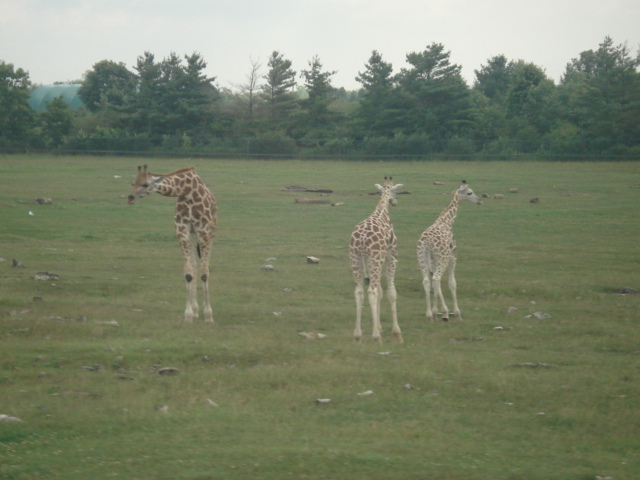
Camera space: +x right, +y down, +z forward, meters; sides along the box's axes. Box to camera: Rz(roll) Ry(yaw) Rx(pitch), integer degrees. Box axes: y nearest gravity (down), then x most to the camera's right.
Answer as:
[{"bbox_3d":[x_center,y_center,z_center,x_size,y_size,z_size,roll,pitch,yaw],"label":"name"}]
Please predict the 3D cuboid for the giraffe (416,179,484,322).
[{"bbox_3d":[3.925,0.271,35.834,1.521,4.333,2.990,-1,5,7],"label":"giraffe"}]

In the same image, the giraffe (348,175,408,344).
[{"bbox_3d":[1.681,0.523,34.593,1.527,4.847,3.831,-1,5,3],"label":"giraffe"}]

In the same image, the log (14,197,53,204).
[{"bbox_3d":[-12.954,-1.785,49.777,1.591,0.237,1.408,-2,5,-17],"label":"log"}]

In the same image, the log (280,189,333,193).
[{"bbox_3d":[-0.684,-2.704,59.533,2.823,0.151,1.771,1,5,23],"label":"log"}]

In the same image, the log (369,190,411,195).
[{"bbox_3d":[3.688,-2.602,58.631,2.215,0.235,1.811,-1,4,-1],"label":"log"}]
